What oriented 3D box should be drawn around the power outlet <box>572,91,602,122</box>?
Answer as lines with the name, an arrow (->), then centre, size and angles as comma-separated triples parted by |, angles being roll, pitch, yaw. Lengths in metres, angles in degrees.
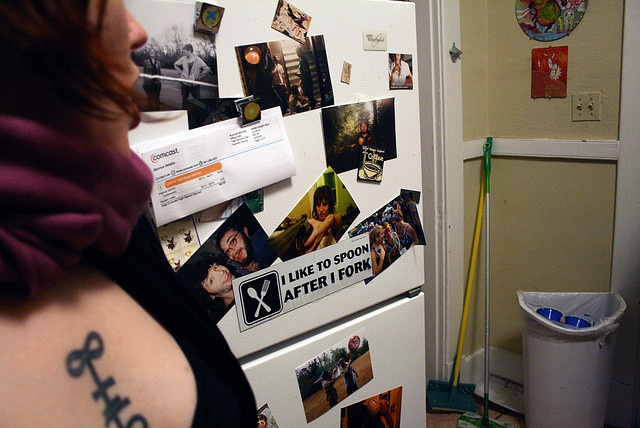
power outlet -> 1.107, -0.449, 1.833 | 0.127, 0.142, 0.020 | 8, 18, 43
